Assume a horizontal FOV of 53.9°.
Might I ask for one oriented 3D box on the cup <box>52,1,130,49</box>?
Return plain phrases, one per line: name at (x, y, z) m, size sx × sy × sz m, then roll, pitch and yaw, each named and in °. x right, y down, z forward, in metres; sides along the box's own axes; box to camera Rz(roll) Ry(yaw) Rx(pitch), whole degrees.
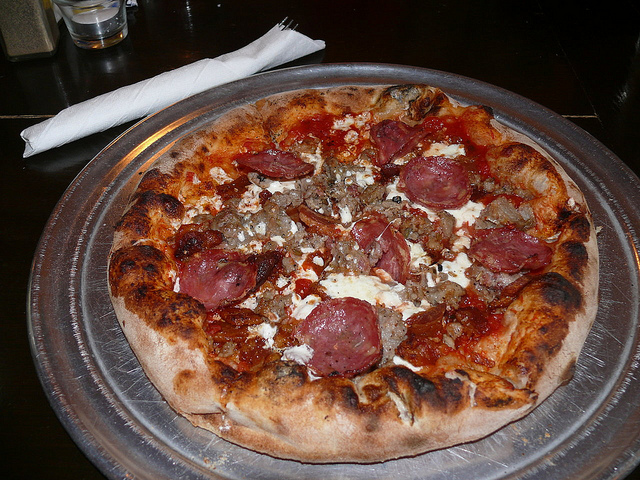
cup at (-1.861, -1.821, 5.210) m, size 0.467 × 0.345 × 0.450 m, roll 1°, pitch 46°, yaw -1°
